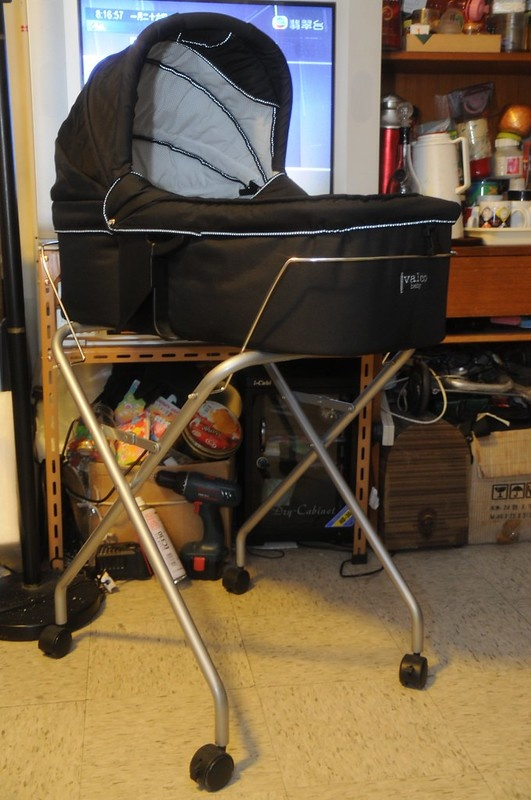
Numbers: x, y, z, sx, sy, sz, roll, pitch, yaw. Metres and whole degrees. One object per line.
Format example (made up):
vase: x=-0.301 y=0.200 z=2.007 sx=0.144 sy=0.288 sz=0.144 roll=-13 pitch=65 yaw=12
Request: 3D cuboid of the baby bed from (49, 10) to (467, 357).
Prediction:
baby bed: x=-0.072 y=-0.377 z=1.093 sx=0.508 sy=0.553 sz=0.723 roll=-3 pitch=10 yaw=-18

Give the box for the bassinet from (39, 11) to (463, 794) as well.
bassinet: x=-0.043 y=-0.055 z=1.178 sx=0.522 sy=1.088 sz=0.830 roll=-12 pitch=20 yaw=-38

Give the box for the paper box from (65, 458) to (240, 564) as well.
paper box: x=-0.280 y=0.239 z=1.757 sx=0.392 sy=0.218 sz=0.267 roll=0 pitch=8 yaw=4

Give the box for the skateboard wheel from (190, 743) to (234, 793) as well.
skateboard wheel: x=-0.073 y=0.510 z=0.951 sx=0.060 sy=0.065 sz=0.036 roll=1 pitch=5 yaw=-38

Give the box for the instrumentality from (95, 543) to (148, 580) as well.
instrumentality: x=-0.328 y=0.378 z=1.594 sx=0.107 sy=0.079 sz=0.083 roll=0 pitch=12 yaw=-2

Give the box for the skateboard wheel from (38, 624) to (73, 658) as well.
skateboard wheel: x=-0.389 y=0.451 z=1.281 sx=0.022 sy=0.043 sz=0.042 roll=5 pitch=-28 yaw=29
